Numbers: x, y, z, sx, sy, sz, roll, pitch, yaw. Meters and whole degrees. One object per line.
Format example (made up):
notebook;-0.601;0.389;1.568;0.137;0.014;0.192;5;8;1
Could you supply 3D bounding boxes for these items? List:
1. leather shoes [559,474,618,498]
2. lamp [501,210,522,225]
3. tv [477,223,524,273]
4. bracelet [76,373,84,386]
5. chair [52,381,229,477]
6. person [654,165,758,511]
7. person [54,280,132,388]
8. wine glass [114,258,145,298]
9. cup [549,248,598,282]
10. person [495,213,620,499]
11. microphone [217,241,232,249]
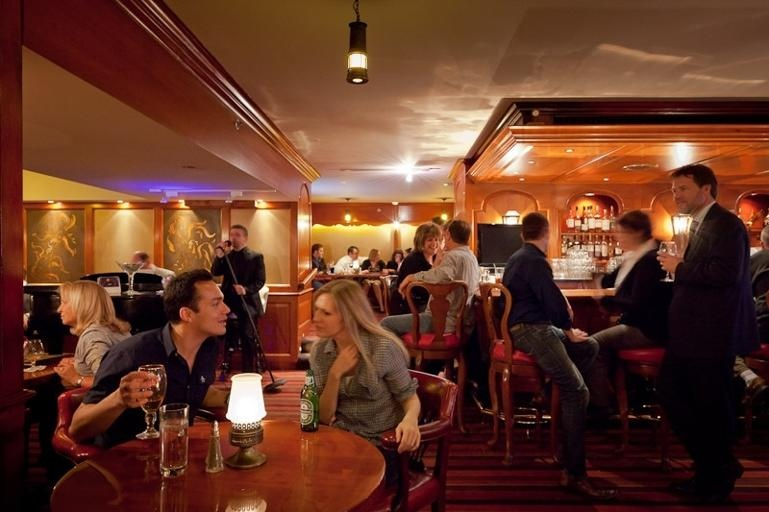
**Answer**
leather shoes;1.551;1.778;4.338;0.404;0.163;0.141;-4;-8;28
lamp;1.823;-0.531;8.158;0.250;0.297;0.290;-1;3;0
tv;1.416;-0.089;6.943;0.687;0.537;0.126;1;6;-1
bracelet;-2.180;0.892;4.090;0.066;0.084;0.032;14;3;43
chair;-1.620;1.024;3.703;0.611;0.715;0.605;-4;-8;25
person;2.419;0.587;4.250;0.673;2.515;0.327;0;1;21
person;-2.184;0.583;4.293;0.573;0.788;0.796;1;-5;-3
wine glass;-2.725;0.246;6.124;0.379;0.397;0.365;0;2;-2
cup;1.939;0.120;5.791;0.435;0.289;0.414;0;-3;0
person;1.473;0.758;4.775;0.882;2.186;0.869;4;-8;-35
microphone;-1.953;-0.136;6.956;0.154;0.082;0.384;4;0;-24
